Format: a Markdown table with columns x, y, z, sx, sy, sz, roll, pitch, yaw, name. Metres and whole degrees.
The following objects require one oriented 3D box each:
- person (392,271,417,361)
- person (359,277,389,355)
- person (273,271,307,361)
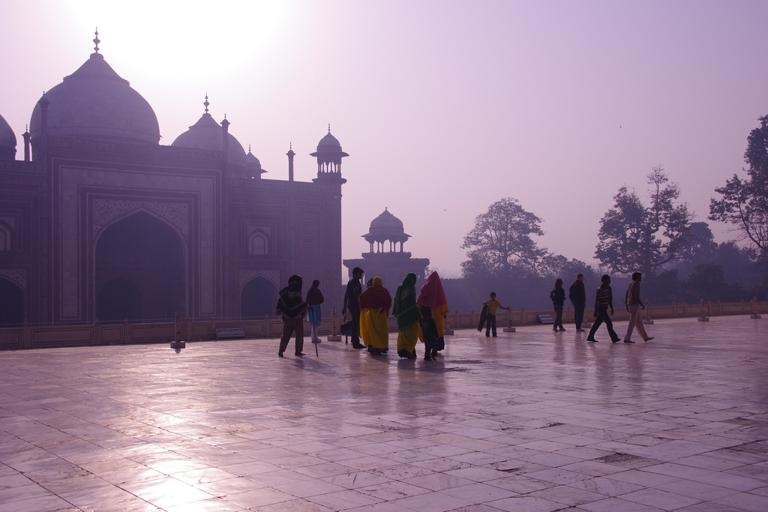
| x | y | z | sx | sy | sz | roll | pitch | yaw | name |
| --- | --- | --- | --- | --- | --- | --- | --- | --- | --- |
| 0.413 | 1.125 | 13.502 | 0.479 | 1.636 | 0.958 | 0 | -4 | 0 | person |
| -0.184 | 1.171 | 13.992 | 0.591 | 1.546 | 0.919 | 0 | -4 | -1 | person |
| -1.823 | 1.156 | 13.783 | 0.524 | 1.599 | 0.901 | 1 | -4 | -7 | person |
